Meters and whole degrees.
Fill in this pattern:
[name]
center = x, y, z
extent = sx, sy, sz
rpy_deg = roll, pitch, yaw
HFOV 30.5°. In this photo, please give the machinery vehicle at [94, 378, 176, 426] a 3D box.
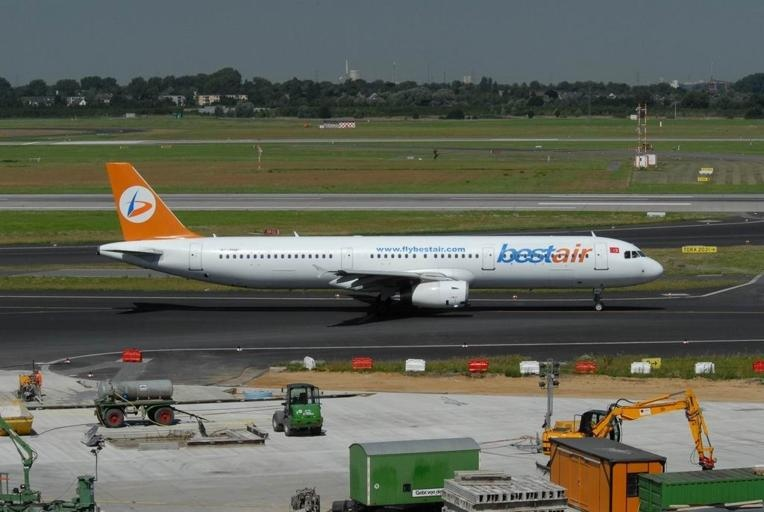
[machinery vehicle]
center = -19.776, 11.552, 112.665
extent = 6.482, 2.524, 3.431
rpy_deg = -2, 5, -9
